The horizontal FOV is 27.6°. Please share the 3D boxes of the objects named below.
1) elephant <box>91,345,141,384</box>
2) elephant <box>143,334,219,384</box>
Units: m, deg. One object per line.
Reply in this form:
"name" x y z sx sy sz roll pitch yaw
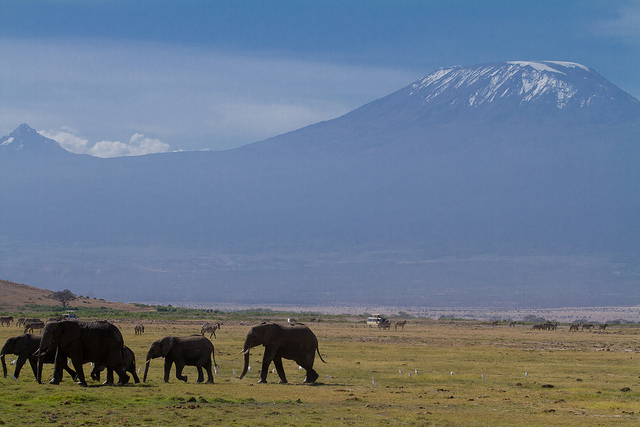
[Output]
"elephant" -62.838 44.327 383.184 19.830 11.388 8.017 2 -12 6
"elephant" -40.747 43.341 384.294 22.629 13.061 6.502 0 -8 1
